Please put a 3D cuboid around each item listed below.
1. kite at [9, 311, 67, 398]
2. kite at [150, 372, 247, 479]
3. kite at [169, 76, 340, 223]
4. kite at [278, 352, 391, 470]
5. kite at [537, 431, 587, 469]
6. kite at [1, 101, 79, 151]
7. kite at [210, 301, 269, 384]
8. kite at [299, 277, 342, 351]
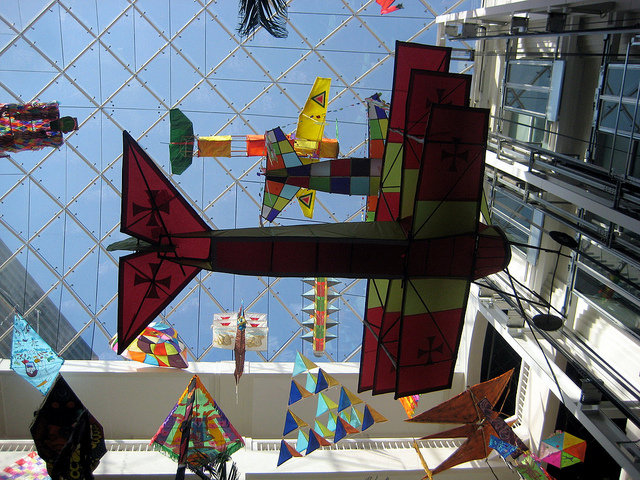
[{"bbox_3d":[-8.564,3.445,21.926,1.747,0.204,2.827,-9,-72,-6],"label":"kite"},{"bbox_3d":[-3.450,4.999,20.909,3.052,2.550,2.695,-3,-49,-7],"label":"kite"},{"bbox_3d":[-1.996,-2.882,23.409,5.751,6.073,2.501,-2,-103,-18],"label":"kite"},{"bbox_3d":[-0.105,4.872,22.386,3.944,0.031,3.014,-19,-101,-15],"label":"kite"},{"bbox_3d":[6.568,5.647,19.746,1.017,0.591,1.041,-1,-64,-10],"label":"kite"},{"bbox_3d":[-8.260,-3.354,21.621,2.048,0.600,1.287,-7,-82,-21],"label":"kite"},{"bbox_3d":[-2.608,3.470,23.959,1.836,2.650,0.659,2,-39,-4],"label":"kite"},{"bbox_3d":[0.017,2.467,24.369,1.248,1.149,3.230,7,-61,9],"label":"kite"}]
